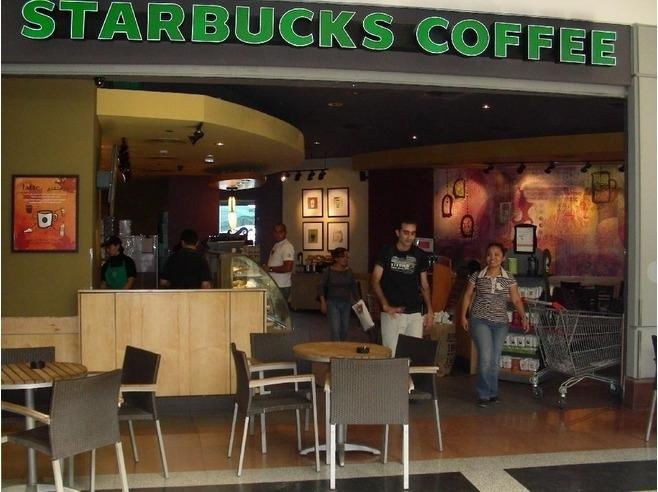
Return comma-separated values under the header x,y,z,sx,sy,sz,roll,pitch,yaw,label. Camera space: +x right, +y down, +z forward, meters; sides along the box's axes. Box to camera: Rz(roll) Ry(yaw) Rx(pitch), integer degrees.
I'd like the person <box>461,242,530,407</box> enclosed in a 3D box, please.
x,y,z,sx,sy,sz,roll,pitch,yaw,label
1.945,0.905,7.824,0.669,1.881,0.460,-2,4,-30,person

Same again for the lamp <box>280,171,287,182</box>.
x,y,z,sx,sy,sz,roll,pitch,yaw,label
-1.081,-1.661,15.933,0.190,0.232,0.245,0,8,-4,lamp

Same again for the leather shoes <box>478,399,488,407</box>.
x,y,z,sx,sy,sz,roll,pitch,yaw,label
1.802,1.809,7.615,0.111,0.075,0.179,2,5,17,leather shoes

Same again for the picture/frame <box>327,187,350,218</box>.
x,y,z,sx,sy,sz,roll,pitch,yaw,label
0.271,-1.128,16.678,0.716,0.935,0.060,2,5,26,picture/frame

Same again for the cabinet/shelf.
x,y,z,sx,sy,sz,roll,pitch,yaw,label
-1.022,0.832,8.851,0.824,1.078,1.550,-1,-1,-13,cabinet/shelf

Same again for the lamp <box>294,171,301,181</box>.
x,y,z,sx,sy,sz,roll,pitch,yaw,label
-0.797,-1.779,16.755,0.236,0.338,0.183,3,-5,-4,lamp

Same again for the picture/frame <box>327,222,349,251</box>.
x,y,z,sx,sy,sz,roll,pitch,yaw,label
0.253,-0.235,16.115,0.686,0.891,0.057,0,-1,28,picture/frame

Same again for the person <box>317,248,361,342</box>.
x,y,z,sx,sy,sz,roll,pitch,yaw,label
0.150,0.666,8.809,0.548,1.263,0.486,0,4,-12,person

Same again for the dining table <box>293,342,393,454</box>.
x,y,z,sx,sy,sz,roll,pitch,yaw,label
0.085,1.397,6.126,0.974,1.006,0.998,0,-4,-9,dining table

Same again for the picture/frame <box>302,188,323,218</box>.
x,y,z,sx,sy,sz,roll,pitch,yaw,label
-0.397,-1.137,16.989,0.723,0.946,0.061,0,-1,13,picture/frame

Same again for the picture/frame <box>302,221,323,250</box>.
x,y,z,sx,sy,sz,roll,pitch,yaw,label
-0.403,-0.262,17.001,0.681,0.889,0.034,2,1,20,picture/frame

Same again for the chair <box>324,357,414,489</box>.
x,y,z,sx,sy,sz,roll,pitch,yaw,label
0.316,1.400,5.347,0.835,1.418,0.969,0,2,0,chair

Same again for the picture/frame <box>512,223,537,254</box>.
x,y,z,sx,sy,sz,roll,pitch,yaw,label
2.935,-0.101,9.773,0.388,0.511,0.271,1,-15,9,picture/frame

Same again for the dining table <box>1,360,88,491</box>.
x,y,z,sx,sy,sz,roll,pitch,yaw,label
-2.464,1.508,5.633,0.958,1.076,0.924,0,-4,-19,dining table

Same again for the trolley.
x,y,z,sx,sy,sz,roll,pitch,yaw,label
3.031,1.272,8.004,1.007,1.077,0.663,-1,-6,-22,trolley

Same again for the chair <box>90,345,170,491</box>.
x,y,z,sx,sy,sz,roll,pitch,yaw,label
-1.679,1.491,6.132,0.924,1.400,0.986,1,-3,-27,chair

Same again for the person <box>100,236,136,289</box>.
x,y,z,sx,sy,sz,roll,pitch,yaw,label
-2.867,0.242,8.902,0.413,0.705,0.863,-2,5,-27,person

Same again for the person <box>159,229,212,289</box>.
x,y,z,sx,sy,sz,roll,pitch,yaw,label
-1.872,0.169,8.622,0.660,0.754,0.486,1,4,0,person

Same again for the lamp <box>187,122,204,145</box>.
x,y,z,sx,sy,sz,roll,pitch,yaw,label
-1.819,-1.529,9.000,0.230,0.231,1.197,0,5,-12,lamp

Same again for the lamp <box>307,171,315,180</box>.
x,y,z,sx,sy,sz,roll,pitch,yaw,label
-0.429,-1.726,15.956,0.247,0.279,0.155,4,-2,-4,lamp

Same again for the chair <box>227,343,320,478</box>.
x,y,z,sx,sy,sz,roll,pitch,yaw,label
-0.609,1.418,6.367,1.046,1.522,1.014,0,0,-12,chair

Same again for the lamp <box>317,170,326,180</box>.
x,y,z,sx,sy,sz,roll,pitch,yaw,label
-0.150,-1.737,15.999,0.146,0.239,0.232,-2,15,-11,lamp
